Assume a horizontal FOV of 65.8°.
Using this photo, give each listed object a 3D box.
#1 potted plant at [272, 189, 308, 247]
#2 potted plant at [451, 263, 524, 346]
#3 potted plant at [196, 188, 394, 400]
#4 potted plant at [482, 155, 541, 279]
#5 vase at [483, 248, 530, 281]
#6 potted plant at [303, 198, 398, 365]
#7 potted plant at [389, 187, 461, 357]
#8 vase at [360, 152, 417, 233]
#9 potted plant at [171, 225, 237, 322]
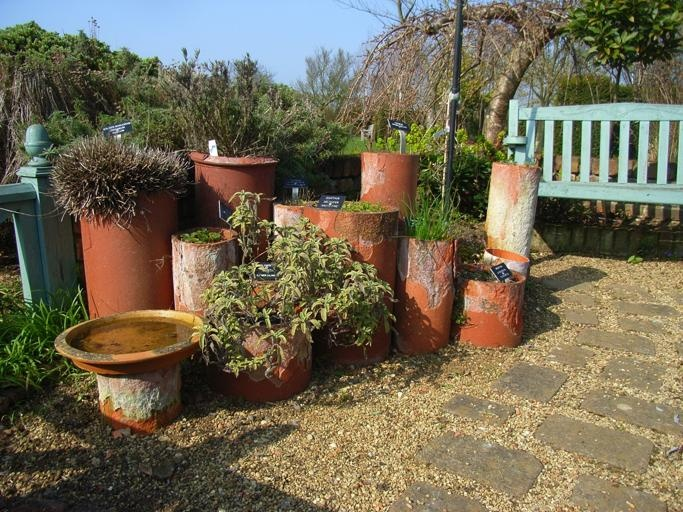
[{"bbox_3d":[-0.405,-0.298,4.236,0.342,0.227,0.364,2,29,4],"label":"potted plant"},{"bbox_3d":[1.261,0.415,4.424,0.532,0.575,0.576,-5,17,-4],"label":"potted plant"},{"bbox_3d":[-0.351,0.263,3.624,1.279,1.357,0.839,-4,11,-17],"label":"potted plant"},{"bbox_3d":[1.655,-0.532,5.112,0.436,1.063,0.408,7,48,19],"label":"potted plant"},{"bbox_3d":[1.469,0.043,4.695,0.301,0.224,0.309,5,6,16],"label":"vase"},{"bbox_3d":[0.012,0.160,4.072,0.743,1.101,0.730,2,-18,-18],"label":"potted plant"},{"bbox_3d":[0.690,0.152,4.285,0.456,1.182,0.587,1,11,12],"label":"potted plant"},{"bbox_3d":[0.376,-0.552,4.264,0.490,0.575,0.516,0,9,-20],"label":"vase"},{"bbox_3d":[-0.979,0.111,3.834,0.475,0.555,0.451,18,23,36],"label":"potted plant"}]
